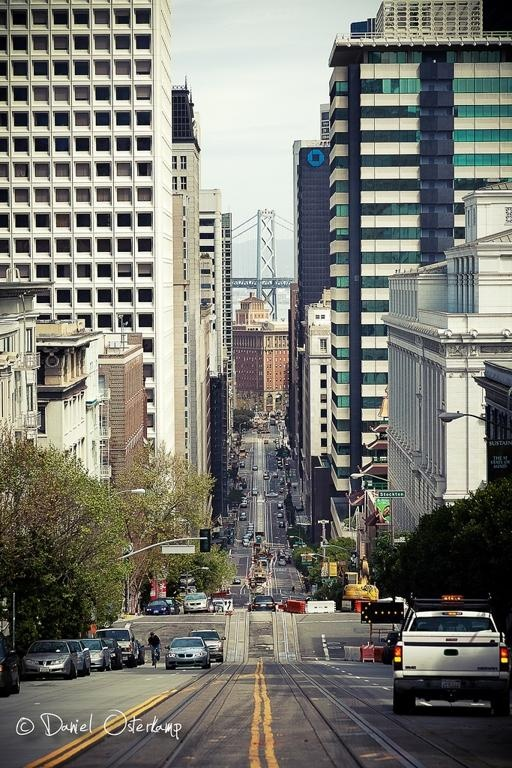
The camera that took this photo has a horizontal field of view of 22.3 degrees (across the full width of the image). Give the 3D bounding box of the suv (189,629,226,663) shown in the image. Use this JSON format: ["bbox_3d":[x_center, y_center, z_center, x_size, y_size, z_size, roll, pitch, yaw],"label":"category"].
[{"bbox_3d":[-1.859,10.843,54.361,0.989,1.240,2.301,0,-13,1],"label":"suv"}]

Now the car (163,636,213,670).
[{"bbox_3d":[-2.422,9.632,46.178,1.376,1.083,2.160,-2,-7,4],"label":"car"}]
